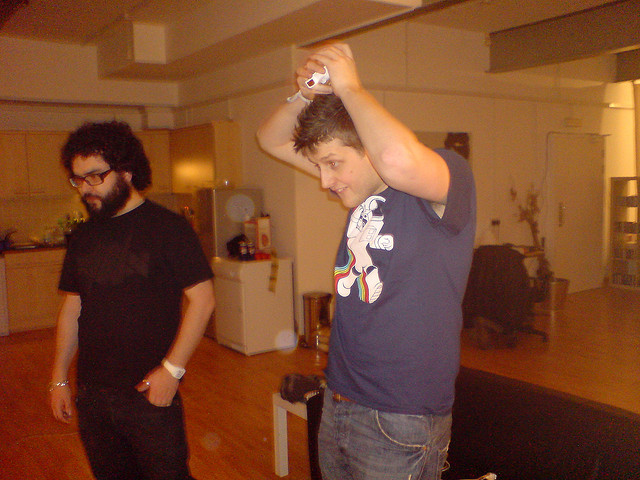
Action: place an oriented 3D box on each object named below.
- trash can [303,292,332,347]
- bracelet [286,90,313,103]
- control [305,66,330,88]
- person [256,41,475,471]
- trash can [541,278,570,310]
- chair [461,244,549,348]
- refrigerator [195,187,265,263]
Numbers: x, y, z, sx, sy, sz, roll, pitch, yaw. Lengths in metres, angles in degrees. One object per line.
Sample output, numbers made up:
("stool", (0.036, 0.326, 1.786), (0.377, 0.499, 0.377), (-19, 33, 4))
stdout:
("trash can", (-0.001, 0.850, 5.721), (0.329, 0.553, 0.300), (-7, 10, -28))
("bracelet", (-0.084, -0.566, 2.157), (0.062, 0.039, 0.085), (16, 45, 38))
("control", (-0.010, -0.572, 1.932), (0.083, 0.046, 0.020), (-29, 0, 9))
("person", (0.161, 0.086, 2.028), (0.751, 1.588, 0.383), (6, 12, 42))
("trash can", (2.533, 0.578, 5.984), (0.370, 0.313, 0.336), (2, 6, 4))
("chair", (1.946, 0.525, 5.812), (0.942, 1.012, 0.998), (3, 6, 13))
("refrigerator", (-0.899, -0.022, 6.263), (0.679, 1.036, 0.680), (-5, -14, 10))
